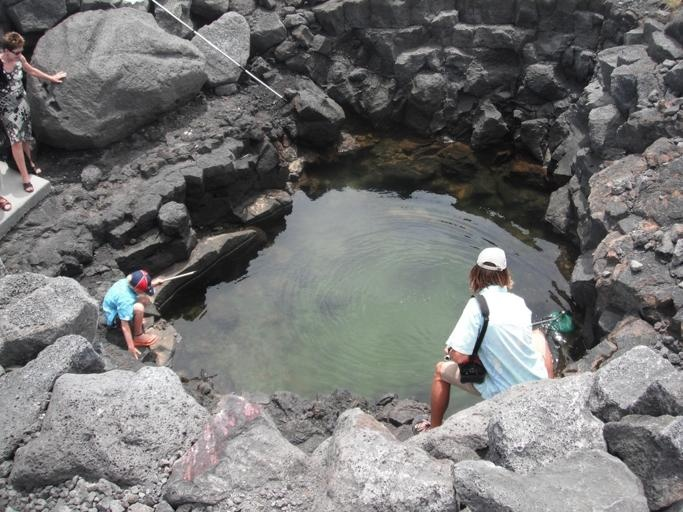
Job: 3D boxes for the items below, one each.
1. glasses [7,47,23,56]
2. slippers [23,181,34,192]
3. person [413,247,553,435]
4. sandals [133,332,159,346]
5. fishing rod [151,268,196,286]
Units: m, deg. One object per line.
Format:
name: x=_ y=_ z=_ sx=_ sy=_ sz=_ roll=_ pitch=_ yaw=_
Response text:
glasses: x=-4.987 y=-3.069 z=9.465 sx=0.175 sy=0.052 sz=0.177 roll=23 pitch=38 yaw=8
slippers: x=-5.225 y=-1.133 z=10.381 sx=0.092 sy=0.058 sz=0.220 roll=-25 pitch=57 yaw=-33
person: x=1.807 y=0.913 z=7.259 sx=1.224 sy=2.318 sz=0.770 roll=6 pitch=10 yaw=33
sandals: x=-3.064 y=1.303 z=9.736 sx=0.246 sy=0.099 sz=0.174 roll=-1 pitch=31 yaw=-10
fishing rod: x=-2.978 y=0.371 z=10.645 sx=0.921 sy=0.223 sz=0.220 roll=-10 pitch=17 yaw=4
